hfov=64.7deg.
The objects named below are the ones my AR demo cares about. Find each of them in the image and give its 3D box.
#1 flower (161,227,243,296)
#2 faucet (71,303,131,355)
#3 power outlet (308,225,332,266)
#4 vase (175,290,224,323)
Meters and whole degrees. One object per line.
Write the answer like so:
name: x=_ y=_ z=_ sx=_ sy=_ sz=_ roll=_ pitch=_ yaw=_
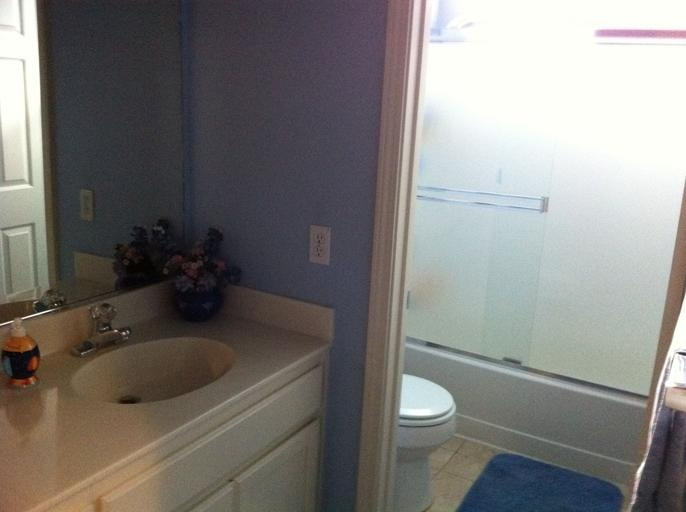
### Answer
flower: x=-0.510 y=0.020 z=2.123 sx=0.221 sy=0.264 sz=0.291 roll=18 pitch=18 yaw=0
faucet: x=-0.791 y=0.232 z=1.826 sx=0.084 sy=0.185 sz=0.237 roll=14 pitch=16 yaw=33
power outlet: x=-0.083 y=-0.042 z=1.974 sx=0.090 sy=0.140 sz=0.019 roll=12 pitch=17 yaw=31
vase: x=-0.545 y=0.182 z=2.039 sx=0.133 sy=0.089 sz=0.136 roll=0 pitch=4 yaw=-3
